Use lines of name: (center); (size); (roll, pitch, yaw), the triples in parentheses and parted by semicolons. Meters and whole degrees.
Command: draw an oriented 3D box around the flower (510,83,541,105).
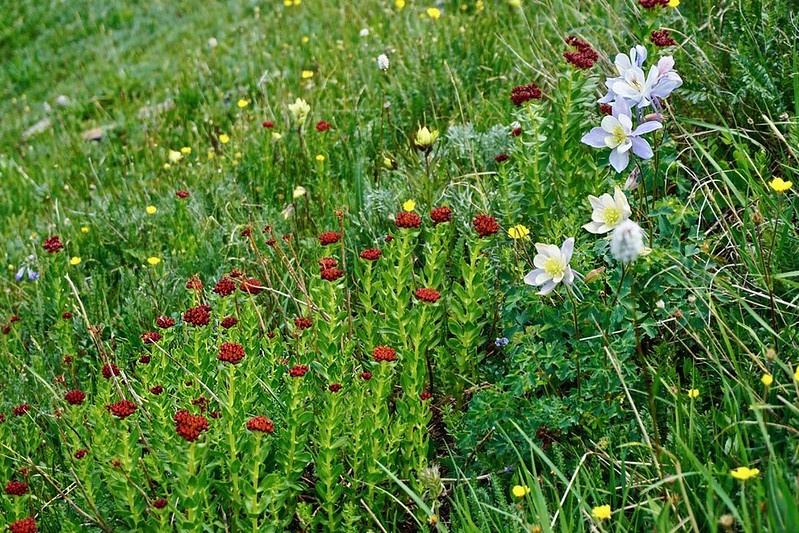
flower: (0.650, -0.882, 4.315); (0.108, 0.093, 0.129); (-10, 28, 34)

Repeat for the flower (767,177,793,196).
flower: (1.913, -0.393, 4.288); (0.101, 0.061, 0.113); (-5, 46, -23)

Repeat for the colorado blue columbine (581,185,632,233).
colorado blue columbine: (0.989, -0.254, 4.075); (0.217, 0.196, 0.091); (-44, -23, 29)

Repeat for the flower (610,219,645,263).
flower: (0.986, -0.099, 3.667); (0.120, 0.243, 0.119); (1, -8, 12)
